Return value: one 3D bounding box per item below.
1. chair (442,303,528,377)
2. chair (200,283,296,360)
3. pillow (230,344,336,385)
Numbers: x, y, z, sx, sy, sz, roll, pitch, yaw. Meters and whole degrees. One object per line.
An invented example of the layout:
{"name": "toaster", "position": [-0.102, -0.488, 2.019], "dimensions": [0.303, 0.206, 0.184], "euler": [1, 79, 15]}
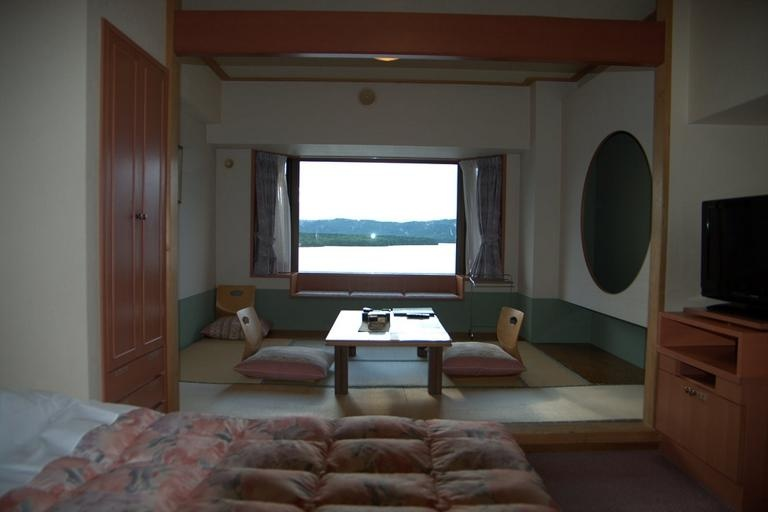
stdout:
{"name": "chair", "position": [0.986, 0.890, 5.443], "dimensions": [0.656, 0.538, 0.808], "euler": [2, -4, 3]}
{"name": "chair", "position": [-1.709, 0.666, 6.390], "dimensions": [0.625, 0.797, 0.819], "euler": [1, -9, -7]}
{"name": "pillow", "position": [-0.962, 1.099, 5.520], "dimensions": [1.001, 0.298, 1.034], "euler": [3, -3, 10]}
